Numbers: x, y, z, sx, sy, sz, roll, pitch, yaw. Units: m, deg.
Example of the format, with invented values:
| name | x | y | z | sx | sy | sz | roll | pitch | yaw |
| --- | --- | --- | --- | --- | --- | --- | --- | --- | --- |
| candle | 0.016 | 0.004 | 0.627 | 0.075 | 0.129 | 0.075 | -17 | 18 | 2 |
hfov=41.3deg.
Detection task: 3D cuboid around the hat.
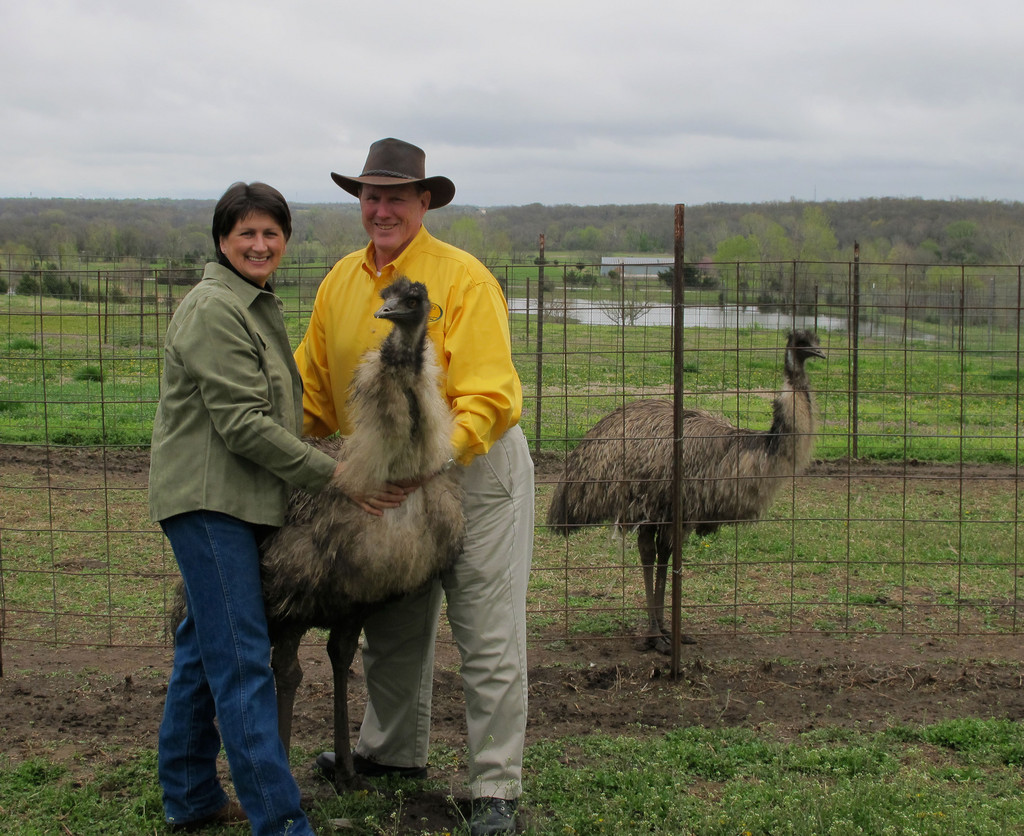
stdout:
| name | x | y | z | sx | sy | sz | roll | pitch | yaw |
| --- | --- | --- | --- | --- | --- | --- | --- | --- | --- |
| hat | -0.663 | -1.499 | 8.251 | 0.802 | 0.316 | 0.828 | 8 | 1 | -7 |
